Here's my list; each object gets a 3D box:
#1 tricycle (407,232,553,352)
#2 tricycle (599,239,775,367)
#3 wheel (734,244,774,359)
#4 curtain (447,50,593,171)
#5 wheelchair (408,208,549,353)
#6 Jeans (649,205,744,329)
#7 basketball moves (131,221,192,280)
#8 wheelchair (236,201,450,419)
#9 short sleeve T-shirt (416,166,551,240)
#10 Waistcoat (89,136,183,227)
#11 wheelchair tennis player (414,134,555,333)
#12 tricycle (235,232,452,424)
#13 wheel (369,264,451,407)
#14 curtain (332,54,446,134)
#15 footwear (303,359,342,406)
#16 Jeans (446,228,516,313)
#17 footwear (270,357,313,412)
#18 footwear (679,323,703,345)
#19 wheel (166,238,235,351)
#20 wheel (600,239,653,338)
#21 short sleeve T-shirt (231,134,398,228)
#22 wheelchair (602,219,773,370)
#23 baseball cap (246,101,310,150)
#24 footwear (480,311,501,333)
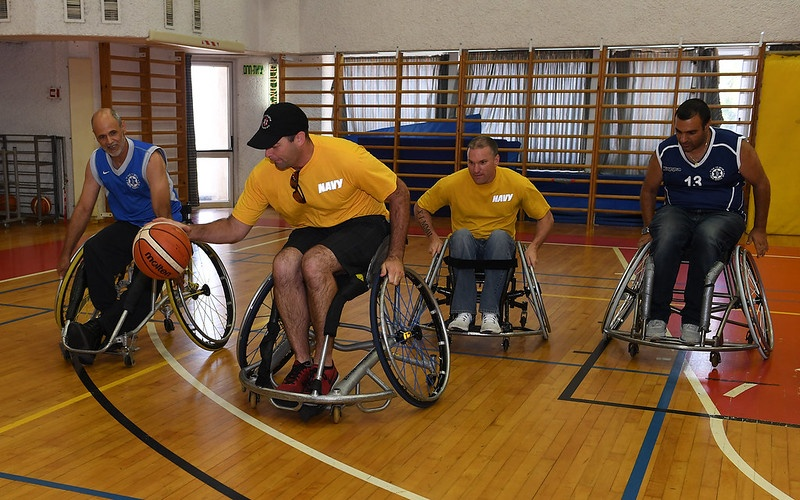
[{"bbox_3d":[0.633,0.322,4.363,0.659,1.006,1.182,0,-3,10],"label":"tricycle"},{"bbox_3d":[2.111,0.346,4.177,0.812,1.148,1.345,1,-1,23],"label":"tricycle"},{"bbox_3d":[2.560,0.401,4.064,0.090,0.786,0.798,-14,-2,21],"label":"wheel"},{"bbox_3d":[2.514,-2.826,10.996,2.475,2.455,0.118,3,3,13],"label":"curtain"},{"bbox_3d":[0.565,0.262,4.206,0.767,1.037,1.100,-1,13,22],"label":"wheelchair"},{"bbox_3d":[1.979,0.102,3.826,0.543,0.725,0.506,9,16,30],"label":"Jeans"},{"bbox_3d":[-1.417,-0.031,3.282,0.323,0.321,0.332,7,7,11],"label":"basketball moves"},{"bbox_3d":[-0.244,0.422,3.550,0.923,1.253,1.384,1,-1,22],"label":"wheelchair"},{"bbox_3d":[0.800,-0.400,4.999,1.332,0.734,0.456,0,10,12],"label":"short sleeve T-shirt"},{"bbox_3d":[-1.867,-0.467,3.942,0.499,0.596,0.320,-7,22,8],"label":"Waistcoat"},{"bbox_3d":[0.623,-0.136,3.962,0.964,1.285,0.961,0,4,-4],"label":"wheelchair tennis player"},{"bbox_3d":[-0.255,0.446,3.538,0.898,1.227,1.363,1,-1,23],"label":"tricycle"},{"bbox_3d":[0.049,0.527,3.266,0.149,0.720,0.721,-16,15,10],"label":"wheel"},{"bbox_3d":[-0.199,-3.043,10.739,2.059,1.489,0.111,0,16,-9],"label":"curtain"},{"bbox_3d":[-0.425,0.683,2.986,0.158,0.170,0.173,0,14,-2],"label":"footwear"},{"bbox_3d":[0.577,0.161,4.051,0.474,0.602,0.411,3,5,23],"label":"Jeans"},{"bbox_3d":[-0.565,0.686,3.035,0.125,0.149,0.344,15,9,2],"label":"footwear"},{"bbox_3d":[1.904,0.549,3.659,0.117,0.101,0.137,7,15,23],"label":"footwear"},{"bbox_3d":[-1.446,0.309,4.097,0.123,0.884,0.908,-17,-11,6],"label":"wheel"},{"bbox_3d":[1.800,0.321,4.474,0.122,0.641,0.700,16,-16,12],"label":"wheel"},{"bbox_3d":[-0.452,-0.352,3.257,0.837,0.442,0.584,-4,24,38],"label":"short sleeve T-shirt"},{"bbox_3d":[2.091,0.319,4.195,0.824,1.158,1.373,1,-2,23],"label":"wheelchair"},{"bbox_3d":[-0.663,-0.666,3.039,0.257,0.196,0.378,-2,6,36],"label":"baseball cap"},{"bbox_3d":[0.638,0.505,3.890,0.171,0.130,0.142,0,14,-4],"label":"footwear"}]
